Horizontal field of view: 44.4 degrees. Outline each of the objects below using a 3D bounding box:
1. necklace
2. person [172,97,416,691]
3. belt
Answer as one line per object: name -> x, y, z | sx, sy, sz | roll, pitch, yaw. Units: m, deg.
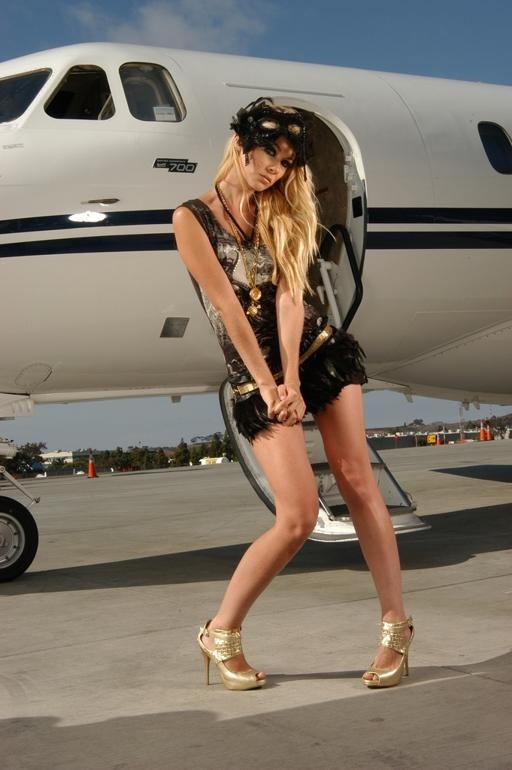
necklace -> -0.029, -0.392, 1.956 | 0.133, 0.418, 0.106 | -13, 6, -8
person -> 0.066, 0.028, 2.022 | 0.600, 1.906, 0.653 | -8, -9, 23
belt -> 0.114, -0.064, 2.029 | 0.329, 0.078, 0.183 | -44, 8, -6
